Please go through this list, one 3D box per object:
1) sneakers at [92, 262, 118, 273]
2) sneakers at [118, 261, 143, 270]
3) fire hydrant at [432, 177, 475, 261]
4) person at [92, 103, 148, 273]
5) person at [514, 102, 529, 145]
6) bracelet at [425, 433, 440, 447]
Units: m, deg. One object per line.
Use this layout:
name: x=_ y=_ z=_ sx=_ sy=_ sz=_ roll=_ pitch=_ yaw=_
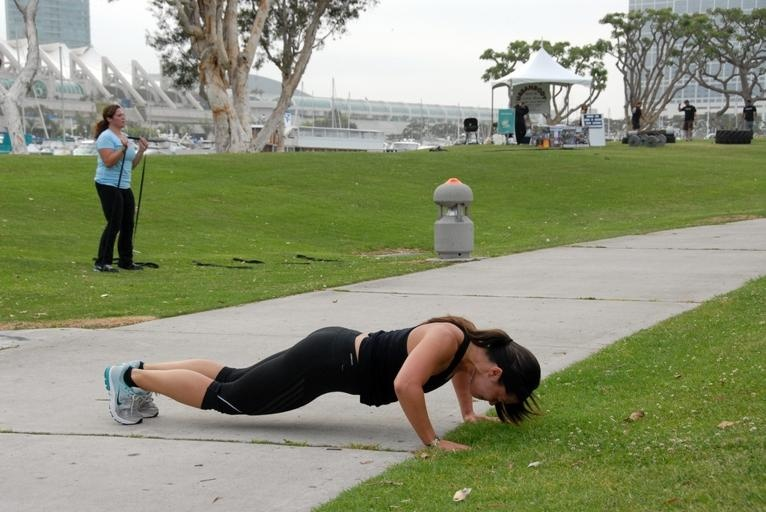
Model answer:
sneakers: x=-4.368 y=0.182 z=17.976 sx=0.394 sy=0.146 sz=0.148 roll=2 pitch=5 yaw=-2
sneakers: x=-4.101 y=0.149 z=18.433 sx=0.452 sy=0.166 sz=0.156 roll=0 pitch=3 yaw=-11
fire hydrant: x=1.231 y=-0.635 z=19.917 sx=0.660 sy=1.384 sz=0.600 roll=-1 pitch=9 yaw=1
person: x=-4.264 y=-1.097 z=18.333 sx=0.867 sy=2.603 sz=1.501 roll=-3 pitch=10 yaw=-12
person: x=6.002 y=-5.623 z=49.288 sx=0.582 sy=1.615 sz=0.849 roll=0 pitch=9 yaw=2
bracelet: x=0.494 y=1.869 z=11.762 sx=0.177 sy=0.111 sz=0.118 roll=4 pitch=6 yaw=7
